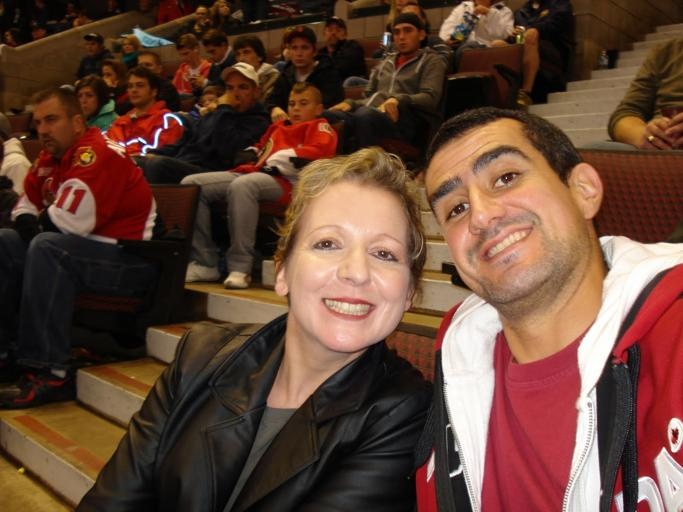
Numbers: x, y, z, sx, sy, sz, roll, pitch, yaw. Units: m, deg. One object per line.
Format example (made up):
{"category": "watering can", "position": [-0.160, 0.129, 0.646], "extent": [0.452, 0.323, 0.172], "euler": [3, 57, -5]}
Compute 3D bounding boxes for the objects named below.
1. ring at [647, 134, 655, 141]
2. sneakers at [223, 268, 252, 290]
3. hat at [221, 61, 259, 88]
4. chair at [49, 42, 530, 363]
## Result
{"category": "ring", "position": [1.511, -0.584, 2.713], "extent": [0.007, 0.029, 0.029], "euler": [13, 39, -43]}
{"category": "sneakers", "position": [-0.744, 0.169, 3.901], "extent": [0.091, 0.079, 0.199], "euler": [-1, -10, 6]}
{"category": "hat", "position": [-0.867, -1.709, 5.126], "extent": [0.211, 0.103, 0.307], "euler": [6, -10, 16]}
{"category": "chair", "position": [-0.609, 0.053, 3.603], "extent": [1.824, 1.815, 1.255], "euler": [5, -3, -35]}
